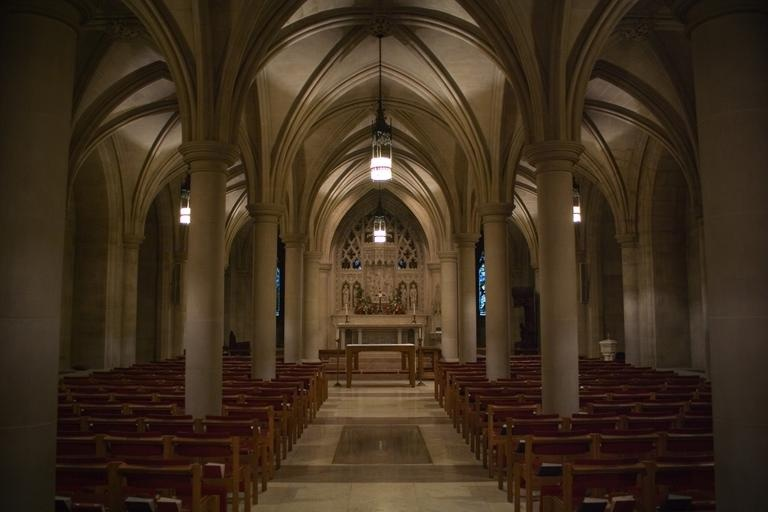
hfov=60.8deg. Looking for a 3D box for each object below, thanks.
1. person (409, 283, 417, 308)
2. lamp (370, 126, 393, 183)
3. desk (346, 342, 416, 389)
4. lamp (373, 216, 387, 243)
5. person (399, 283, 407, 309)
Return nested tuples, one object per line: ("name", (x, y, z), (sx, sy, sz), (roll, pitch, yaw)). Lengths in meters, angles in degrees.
("person", (1.782, 2.353, 39.020), (0.527, 1.535, 0.980), (2, -3, 0))
("lamp", (-0.048, -2.513, 16.096), (0.438, 1.229, 1.006), (2, -3, -4))
("desk", (-0.113, 3.785, 23.893), (2.463, 1.421, 1.815), (0, 5, 2))
("lamp", (-0.155, -1.076, 26.404), (0.402, 1.059, 0.510), (3, -3, -13))
("person", (1.147, 2.282, 39.130), (0.524, 1.386, 0.642), (2, -3, 1))
